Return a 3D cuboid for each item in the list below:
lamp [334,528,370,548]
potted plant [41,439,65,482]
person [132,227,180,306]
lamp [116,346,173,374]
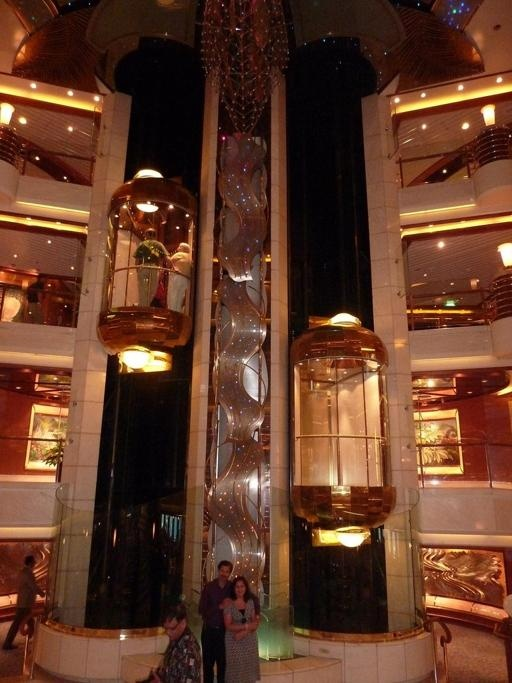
[{"bbox_3d":[1.019,2.033,5.486,0.362,0.251,0.755,-2,-16,8],"label":"lamp"},{"bbox_3d":[-4.018,2.343,10.626,0.467,0.787,0.468,4,-6,-3],"label":"potted plant"},{"bbox_3d":[-1.225,-0.772,6.247,0.437,0.837,0.255,4,-18,-11],"label":"person"},{"bbox_3d":[-1.332,0.200,6.401,0.603,0.270,0.646,2,-16,-7],"label":"lamp"}]
